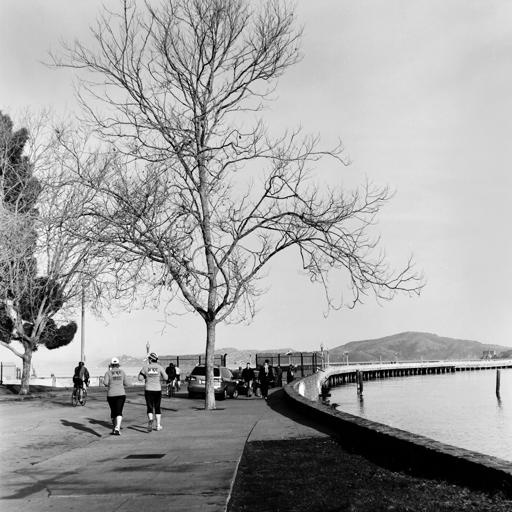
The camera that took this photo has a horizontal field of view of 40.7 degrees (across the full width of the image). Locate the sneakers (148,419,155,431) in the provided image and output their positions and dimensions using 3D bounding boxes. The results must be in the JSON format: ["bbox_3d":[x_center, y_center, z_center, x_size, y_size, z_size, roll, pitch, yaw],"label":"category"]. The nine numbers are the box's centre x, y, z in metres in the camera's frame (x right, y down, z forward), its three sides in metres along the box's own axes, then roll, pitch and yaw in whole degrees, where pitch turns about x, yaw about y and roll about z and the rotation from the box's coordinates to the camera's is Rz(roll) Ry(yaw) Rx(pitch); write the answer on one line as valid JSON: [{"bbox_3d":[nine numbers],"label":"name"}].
[{"bbox_3d":[-2.836,4.545,18.528,0.129,0.532,0.175,3,-2,-10],"label":"sneakers"}]

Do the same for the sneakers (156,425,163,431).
[{"bbox_3d":[-2.630,4.625,18.551,0.204,0.158,0.684,2,-16,-8],"label":"sneakers"}]

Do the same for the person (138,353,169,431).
[{"bbox_3d":[-2.776,3.513,18.622,0.659,2.160,0.678,3,17,-2],"label":"person"}]

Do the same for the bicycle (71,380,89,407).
[{"bbox_3d":[-7.429,5.801,28.638,0.529,0.888,1.276,-1,-14,5],"label":"bicycle"}]

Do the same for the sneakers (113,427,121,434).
[{"bbox_3d":[-3.539,4.451,17.510,0.167,0.165,0.303,3,-15,-12],"label":"sneakers"}]
